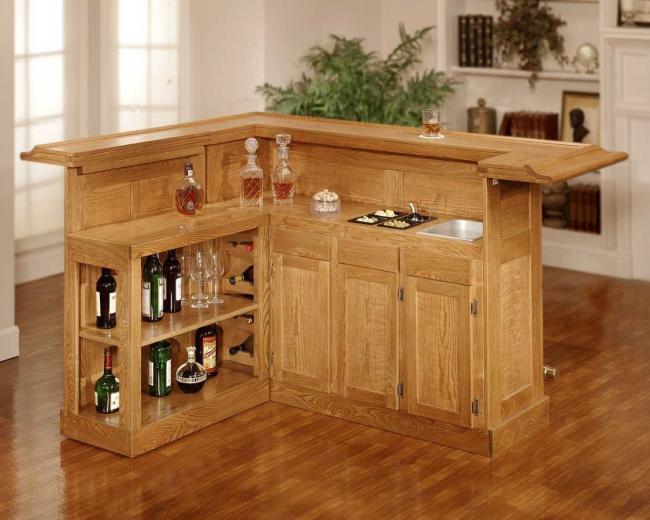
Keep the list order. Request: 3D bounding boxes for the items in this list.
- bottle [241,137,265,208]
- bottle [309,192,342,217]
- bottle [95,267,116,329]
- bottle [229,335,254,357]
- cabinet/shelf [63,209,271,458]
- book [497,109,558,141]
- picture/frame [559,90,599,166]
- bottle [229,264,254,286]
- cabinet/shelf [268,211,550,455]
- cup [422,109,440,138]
[{"bbox_3d":[-0.397,-0.484,3.482,0.145,0.370,0.117,-12,17,-31],"label":"bottle"},{"bbox_3d":[0.010,-0.290,3.318,0.158,0.104,0.143,3,8,19],"label":"bottle"},{"bbox_3d":[-1.041,0.174,2.997,0.114,0.289,0.136,-8,15,-18],"label":"bottle"},{"bbox_3d":[-0.475,0.506,3.673,0.154,0.042,0.135,1,16,12],"label":"bottle"},{"bbox_3d":[-0.797,0.372,3.105,0.565,0.960,1.217,9,14,36],"label":"cabinet/shelf"},{"bbox_3d":[1.935,-1.272,6.012,0.526,0.260,0.202,1,14,14],"label":"book"},{"bbox_3d":[2.349,-1.324,5.851,0.385,0.490,0.225,5,16,30],"label":"picture/frame"},{"bbox_3d":[-0.445,0.089,3.565,0.094,0.069,0.163,17,19,36],"label":"bottle"},{"bbox_3d":[0.428,0.352,3.075,1.299,0.903,0.522,6,11,34],"label":"cabinet/shelf"},{"bbox_3d":[0.561,-0.719,3.343,0.093,0.145,0.133,-1,13,9],"label":"cup"}]
